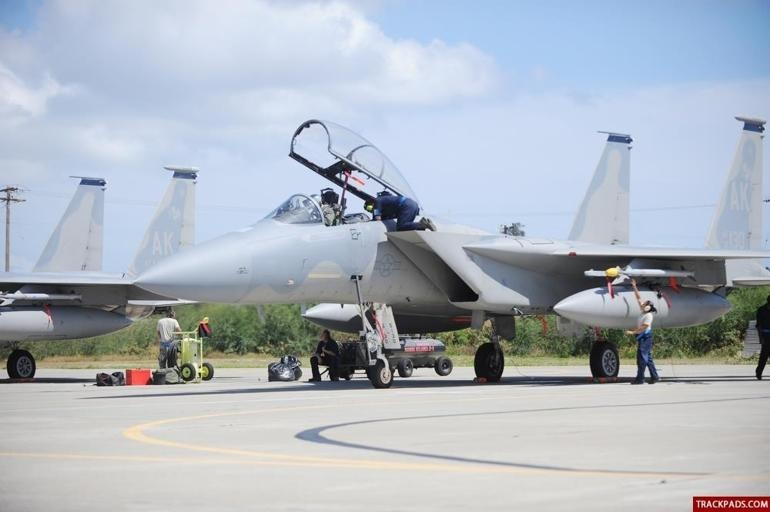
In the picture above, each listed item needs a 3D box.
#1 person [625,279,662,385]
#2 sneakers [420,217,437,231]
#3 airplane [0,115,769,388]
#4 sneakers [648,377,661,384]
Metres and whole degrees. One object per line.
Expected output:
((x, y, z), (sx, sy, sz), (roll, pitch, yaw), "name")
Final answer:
((5.330, 1.542, 17.365), (0.587, 2.192, 1.156), (0, -6, 17), "person")
((0.850, -0.651, 16.694), (0.326, 0.108, 0.224), (29, 33, -4), "sneakers")
((1.167, -0.561, 19.923), (18.290, 6.862, 8.270), (3, -6, -14), "airplane")
((5.569, 2.598, 17.417), (0.140, 0.165, 0.413), (-8, -16, 18), "sneakers")
